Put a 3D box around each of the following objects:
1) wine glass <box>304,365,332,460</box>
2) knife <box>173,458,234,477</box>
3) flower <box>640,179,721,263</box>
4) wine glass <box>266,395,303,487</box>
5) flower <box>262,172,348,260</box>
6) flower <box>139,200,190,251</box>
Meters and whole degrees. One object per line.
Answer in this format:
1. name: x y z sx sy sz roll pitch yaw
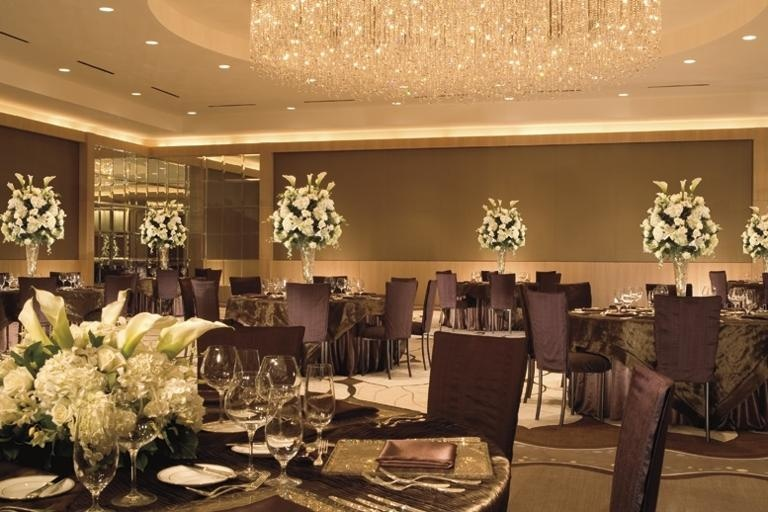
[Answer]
1. wine glass: -0.265 0.606 2.483 0.116 0.363 0.296 0 5 -8
2. knife: -0.707 0.791 2.354 0.335 0.025 0.072 0 5 33
3. flower: 2.864 -0.348 5.976 0.638 0.847 0.662 -1 8 6
4. wine glass: -0.366 0.673 2.261 0.120 0.302 0.196 0 5 -7
5. flower: -0.887 -0.491 7.100 0.772 0.939 0.524 -1 5 -13
6. flower: -4.573 -0.599 12.532 0.802 0.897 0.734 5 6 44
